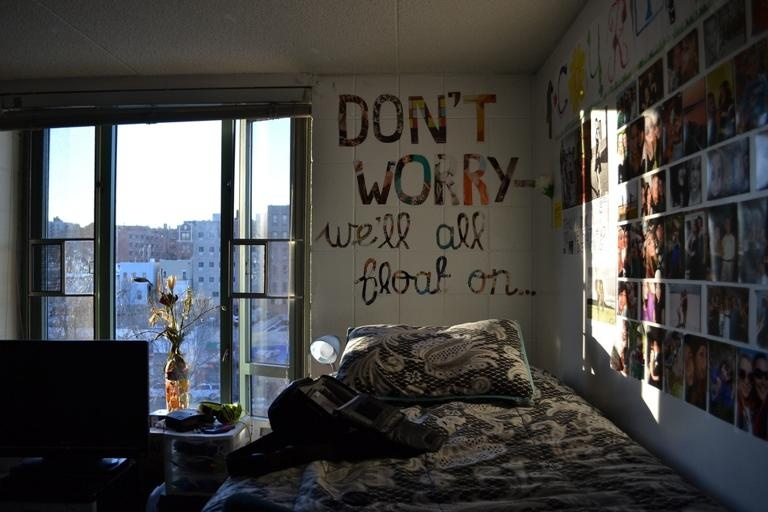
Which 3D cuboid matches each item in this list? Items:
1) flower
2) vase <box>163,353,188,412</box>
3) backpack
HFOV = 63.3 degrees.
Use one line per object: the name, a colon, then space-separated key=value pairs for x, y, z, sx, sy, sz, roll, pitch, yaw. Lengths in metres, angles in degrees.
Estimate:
flower: x=-1.560 y=0.533 z=4.651 sx=0.474 sy=0.689 sz=0.402 roll=-1 pitch=17 yaw=-22
vase: x=-1.455 y=0.857 z=4.303 sx=0.159 sy=0.377 sz=0.111 roll=-1 pitch=-1 yaw=-2
backpack: x=-0.229 y=0.838 z=3.049 sx=0.731 sy=0.260 sz=0.486 roll=-8 pitch=-4 yaw=18
